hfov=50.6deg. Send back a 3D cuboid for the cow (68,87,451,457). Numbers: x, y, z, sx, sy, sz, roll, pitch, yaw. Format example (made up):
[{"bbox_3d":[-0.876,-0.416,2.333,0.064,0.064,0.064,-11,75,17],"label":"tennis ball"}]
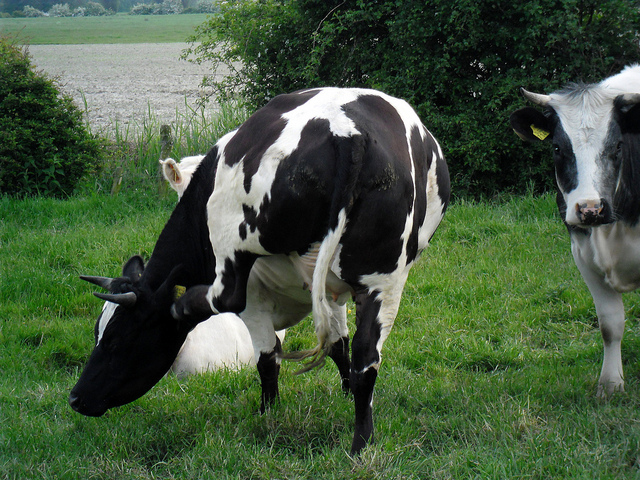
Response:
[{"bbox_3d":[-0.777,0.723,6.444,1.581,2.765,4.789,13,-29,-30],"label":"cow"}]
